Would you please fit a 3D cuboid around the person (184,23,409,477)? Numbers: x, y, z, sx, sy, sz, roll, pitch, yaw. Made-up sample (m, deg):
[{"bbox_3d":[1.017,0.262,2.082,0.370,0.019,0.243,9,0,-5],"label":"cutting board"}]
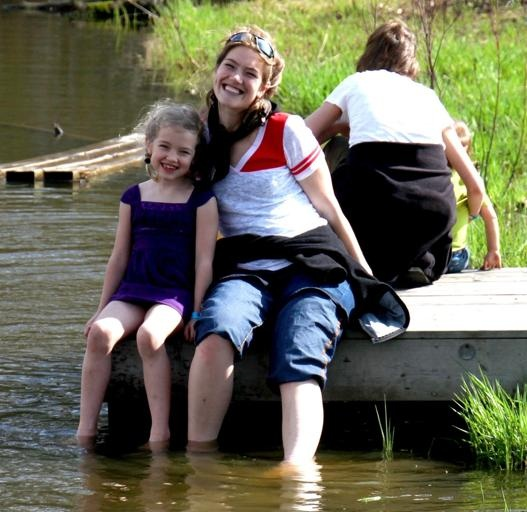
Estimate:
[{"bbox_3d":[0.183,-0.093,4.906,0.944,1.890,0.949,4,7,-4],"label":"person"}]
